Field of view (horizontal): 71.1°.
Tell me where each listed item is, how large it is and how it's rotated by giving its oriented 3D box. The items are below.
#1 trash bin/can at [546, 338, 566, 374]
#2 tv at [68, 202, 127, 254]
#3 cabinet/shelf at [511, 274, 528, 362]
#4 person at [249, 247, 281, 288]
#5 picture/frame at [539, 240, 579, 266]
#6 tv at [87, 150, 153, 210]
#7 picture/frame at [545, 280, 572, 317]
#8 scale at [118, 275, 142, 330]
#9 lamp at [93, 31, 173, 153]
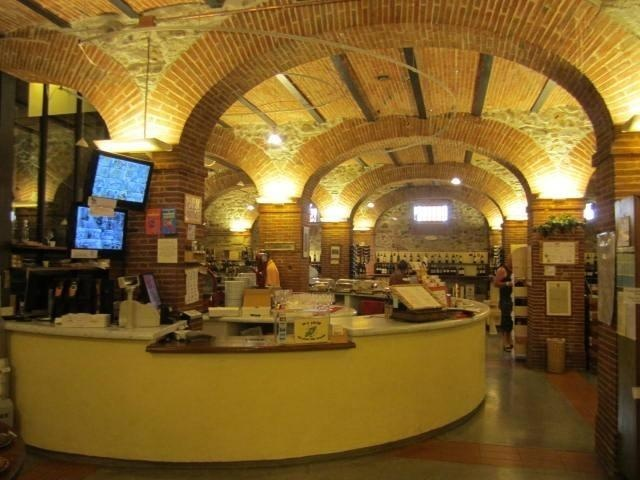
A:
[{"bbox_3d":[4.573,2.234,8.644,0.373,0.582,0.420,3,0,17],"label":"trash bin/can"},{"bbox_3d":[-2.937,-0.161,5.858,0.117,0.508,0.827,6,3,35],"label":"tv"},{"bbox_3d":[4.217,1.630,9.441,0.364,1.608,0.160,4,-1,19],"label":"cabinet/shelf"},{"bbox_3d":[-1.109,0.651,9.506,0.483,0.768,0.656,4,0,-9],"label":"person"},{"bbox_3d":[4.718,0.249,8.773,0.642,0.417,0.075,1,-1,8],"label":"picture/frame"},{"bbox_3d":[-2.672,-0.788,5.952,0.352,0.704,0.970,14,6,37],"label":"tv"},{"bbox_3d":[4.680,1.158,8.770,0.477,0.621,0.132,3,-1,15],"label":"picture/frame"},{"bbox_3d":[-2.183,0.710,5.158,0.273,0.570,0.259,-3,-6,-29],"label":"scale"},{"bbox_3d":[-2.497,-2.041,6.214,0.978,1.805,0.948,4,0,-6],"label":"lamp"}]
